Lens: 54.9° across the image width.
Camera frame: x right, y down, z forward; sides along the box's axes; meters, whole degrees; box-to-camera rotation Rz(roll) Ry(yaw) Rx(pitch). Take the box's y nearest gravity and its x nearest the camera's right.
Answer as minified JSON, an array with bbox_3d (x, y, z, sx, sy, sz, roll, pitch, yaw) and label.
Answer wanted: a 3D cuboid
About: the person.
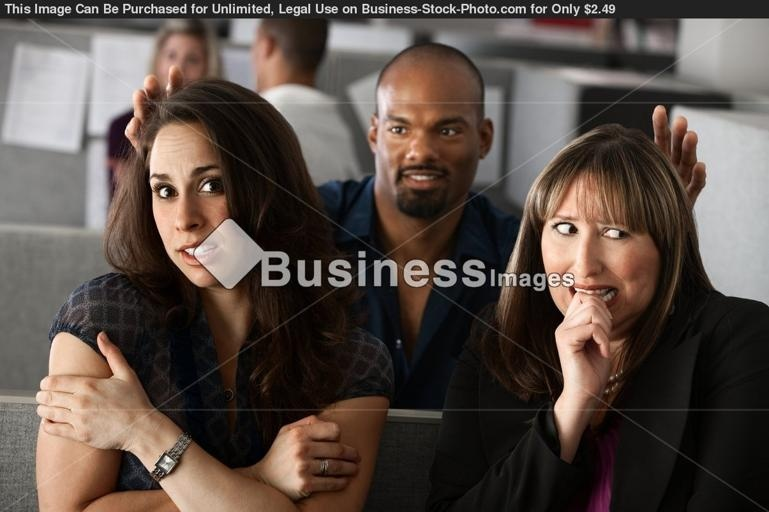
[{"bbox_3d":[-0.117,0.209,1.909,1.561,0.793,0.674,-1,-17,-1],"label":"person"}]
